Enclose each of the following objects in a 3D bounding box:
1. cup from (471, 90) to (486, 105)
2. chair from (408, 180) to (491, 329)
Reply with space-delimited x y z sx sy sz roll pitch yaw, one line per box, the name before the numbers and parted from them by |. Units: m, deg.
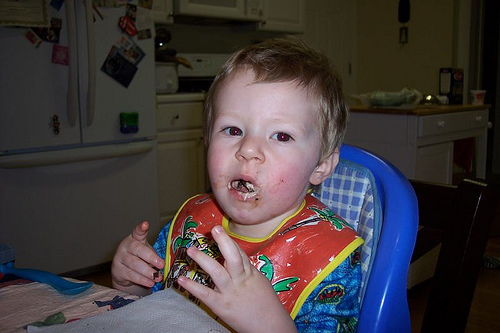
cup | 2.002 -0.609 3.366 0.100 0.115 0.116 6 8 29
chair | 0.456 0.216 0.961 0.115 0.334 0.203 -3 9 -36
